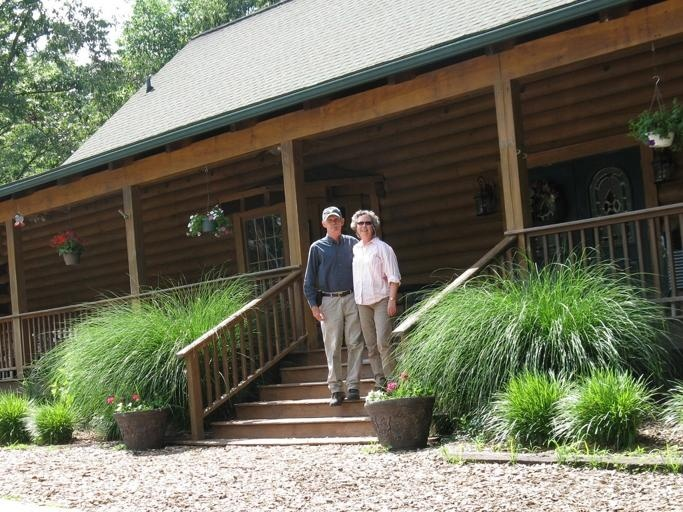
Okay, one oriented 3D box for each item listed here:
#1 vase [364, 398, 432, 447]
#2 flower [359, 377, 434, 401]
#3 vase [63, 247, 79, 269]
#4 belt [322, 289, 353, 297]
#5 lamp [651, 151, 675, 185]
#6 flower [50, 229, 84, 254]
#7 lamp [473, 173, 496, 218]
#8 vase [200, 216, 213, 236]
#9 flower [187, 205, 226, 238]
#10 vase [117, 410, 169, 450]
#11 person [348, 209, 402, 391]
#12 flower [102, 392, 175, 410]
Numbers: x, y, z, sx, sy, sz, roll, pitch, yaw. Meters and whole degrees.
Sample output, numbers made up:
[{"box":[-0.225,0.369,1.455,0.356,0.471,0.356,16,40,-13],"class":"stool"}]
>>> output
[{"box":[0.535,1.524,6.553,0.480,0.354,0.478,9,-17,-40],"class":"vase"},{"box":[0.545,1.237,6.651,0.620,0.202,0.347,-3,-5,-2],"class":"flower"},{"box":[-5.123,0.053,13.535,0.342,0.292,0.355,-3,-5,-23],"class":"vase"},{"box":[-0.057,0.402,7.655,0.360,0.077,0.098,-6,-5,22],"class":"belt"},{"box":[4.334,-1.155,9.605,0.354,0.429,0.358,-5,-5,39],"class":"lamp"},{"box":[-5.200,-0.209,13.573,0.454,0.420,0.454,-28,14,-25],"class":"flower"},{"box":[2.217,-0.938,10.940,0.347,0.613,0.395,-4,-5,14],"class":"lamp"},{"box":[-2.208,-0.504,11.903,0.224,0.254,0.224,-2,-7,5],"class":"vase"},{"box":[-2.173,-0.529,11.955,0.590,0.613,0.671,-1,0,-35],"class":"flower"},{"box":[-2.169,1.883,7.941,0.436,0.312,0.456,-5,-20,7],"class":"vase"},{"box":[0.372,0.437,7.352,0.516,1.809,0.250,-6,-6,38],"class":"person"},{"box":[-2.370,1.647,8.036,0.886,0.196,0.480,-5,-5,19],"class":"flower"}]
